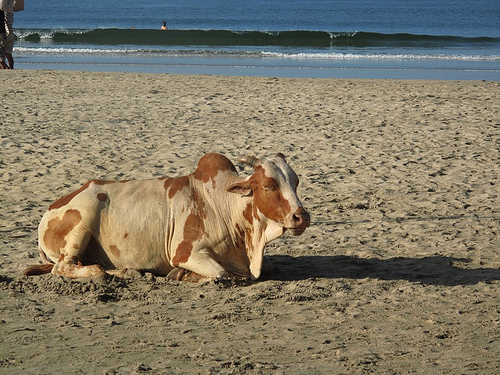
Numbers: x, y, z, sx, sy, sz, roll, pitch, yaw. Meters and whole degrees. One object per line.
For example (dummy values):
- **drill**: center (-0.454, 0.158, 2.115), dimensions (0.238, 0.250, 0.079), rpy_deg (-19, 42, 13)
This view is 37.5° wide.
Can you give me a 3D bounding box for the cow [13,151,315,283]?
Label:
- **cow**: center (-0.913, 0.386, 9.122), dimensions (4.005, 1.235, 1.307), rpy_deg (-2, 6, 27)
